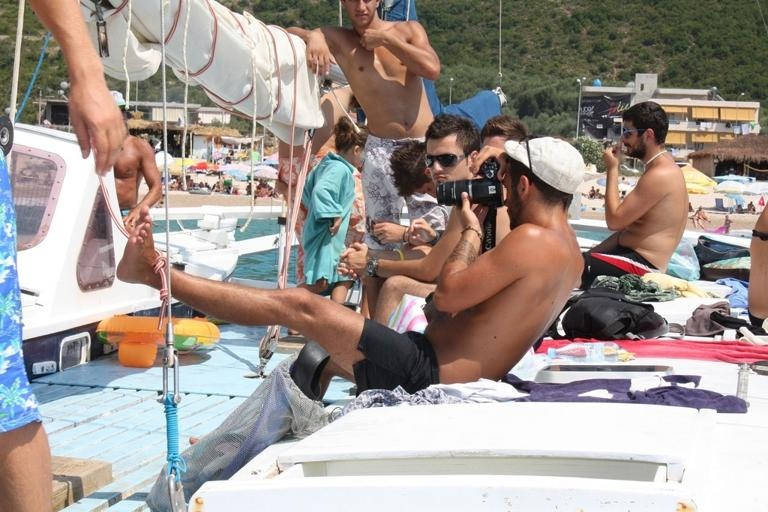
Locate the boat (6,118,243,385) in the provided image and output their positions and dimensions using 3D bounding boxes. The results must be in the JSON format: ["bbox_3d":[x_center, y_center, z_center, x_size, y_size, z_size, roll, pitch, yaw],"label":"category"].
[{"bbox_3d":[-2.440,-0.008,6.745,0.828,1.077,2.647,0,-1,20],"label":"boat"}]

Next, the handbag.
[{"bbox_3d":[1.700,0.399,5.382,0.671,0.233,0.581,-1,15,41],"label":"handbag"}]

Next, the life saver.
[{"bbox_3d":[-1.813,0.627,6.325,1.102,0.589,0.760,0,0,0],"label":"life saver"}]

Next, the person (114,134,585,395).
[{"bbox_3d":[-0.163,-0.002,4.554,2.591,1.414,1.069,6,5,16],"label":"person"}]

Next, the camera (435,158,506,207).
[{"bbox_3d":[0.498,-0.377,4.283,0.477,0.355,0.227,0,-16,-1],"label":"camera"}]
